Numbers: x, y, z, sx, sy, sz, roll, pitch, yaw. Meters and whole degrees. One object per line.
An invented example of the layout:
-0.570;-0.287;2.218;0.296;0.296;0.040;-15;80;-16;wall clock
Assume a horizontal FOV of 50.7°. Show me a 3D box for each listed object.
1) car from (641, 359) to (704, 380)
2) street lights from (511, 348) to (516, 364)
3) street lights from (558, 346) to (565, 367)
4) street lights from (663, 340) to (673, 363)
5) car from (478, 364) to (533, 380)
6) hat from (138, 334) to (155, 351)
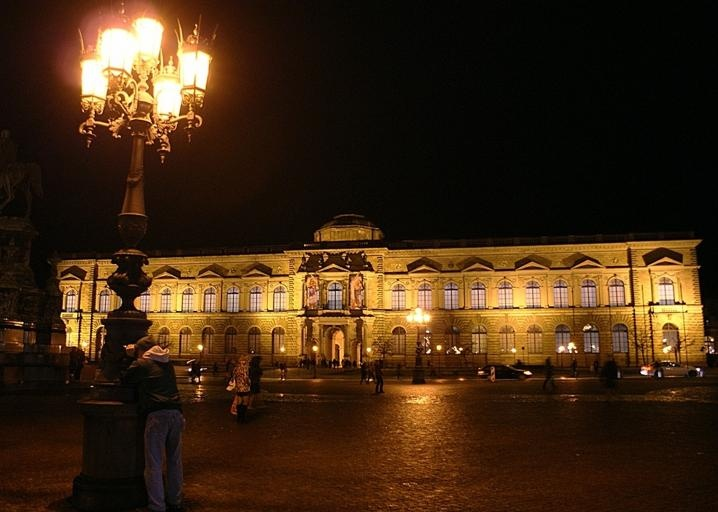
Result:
21.603;7.900;52.347;3.830;0.969;2.251;-1;-8;11;car
14.457;9.256;70.486;0.451;1.437;0.629;7;-11;-36;street lights
18.606;9.187;69.499;0.645;1.681;0.992;-1;-9;14;street lights
27.481;8.381;67.199;0.915;1.876;1.000;-1;-9;15;street lights
9.971;7.859;50.836;3.146;0.920;3.202;1;-8;-2;car
-4.335;1.774;15.298;0.254;0.263;0.319;-1;22;24;hat
